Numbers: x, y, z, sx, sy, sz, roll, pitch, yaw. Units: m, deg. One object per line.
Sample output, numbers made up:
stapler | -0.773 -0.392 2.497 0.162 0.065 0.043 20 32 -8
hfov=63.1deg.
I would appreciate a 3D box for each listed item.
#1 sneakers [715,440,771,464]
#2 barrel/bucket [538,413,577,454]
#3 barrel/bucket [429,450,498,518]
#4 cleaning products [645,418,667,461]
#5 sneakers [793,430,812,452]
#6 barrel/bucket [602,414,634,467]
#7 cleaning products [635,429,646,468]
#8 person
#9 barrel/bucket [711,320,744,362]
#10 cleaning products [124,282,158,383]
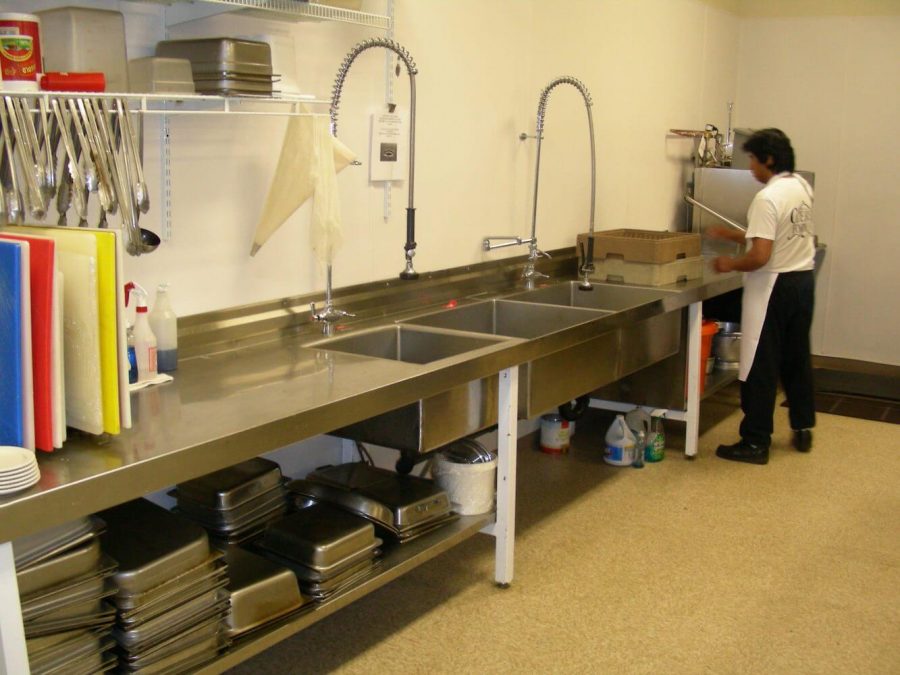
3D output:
sneakers | 1.685 0.660 4.258 0.300 0.130 0.121 10 15 30
barrel/bucket | 0.638 0.565 4.394 0.206 0.224 0.210 1 7 0
barrel/bucket | 0.071 0.572 2.866 0.207 0.158 0.211 -1 4 0
cleaning products | 1.178 0.578 4.220 0.108 0.243 0.140 4 14 14
sneakers | 2.092 0.613 4.347 0.080 0.139 0.138 -1 3 -3
barrel/bucket | 0.960 0.567 4.166 0.174 0.283 0.168 0 13 0
cleaning products | 1.068 0.628 4.152 0.064 0.172 0.149 4 14 14
person | 1.832 -0.239 4.187 0.529 1.851 0.615 11 17 39
barrel/bucket | 1.831 0.020 4.967 0.238 0.189 0.253 -1 16 0
cleaning products | -0.920 -0.028 2.164 0.078 0.275 0.206 -5 14 -23
